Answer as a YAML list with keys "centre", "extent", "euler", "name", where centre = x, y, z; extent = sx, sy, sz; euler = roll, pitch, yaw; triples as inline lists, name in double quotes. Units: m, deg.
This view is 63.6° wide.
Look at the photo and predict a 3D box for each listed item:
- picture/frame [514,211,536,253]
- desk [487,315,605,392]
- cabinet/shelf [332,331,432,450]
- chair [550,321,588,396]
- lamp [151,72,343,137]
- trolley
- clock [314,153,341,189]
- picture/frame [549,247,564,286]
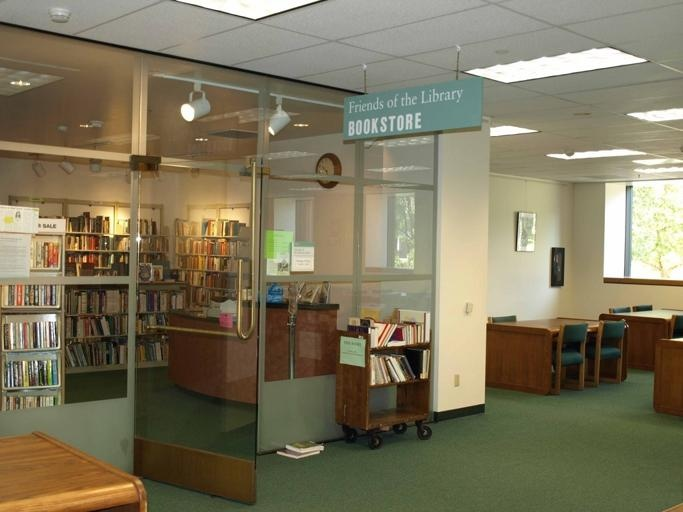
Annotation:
- centre: [4.331, -0.571, 13.093]
  extent: [0.084, 1.210, 0.943]
  euler: [0, -1, 40]
  name: "picture/frame"
- centre: [3.240, 1.593, 9.812]
  extent: [1.157, 1.084, 2.061]
  euler: [3, 6, 26]
  name: "desk"
- centre: [0.503, 1.468, 6.302]
  extent: [0.966, 1.287, 0.568]
  euler: [4, -6, -33]
  name: "cabinet/shelf"
- centre: [3.618, 1.662, 9.187]
  extent: [0.830, 1.157, 0.915]
  euler: [0, 2, 5]
  name: "chair"
- centre: [-0.975, -1.432, 5.501]
  extent: [1.811, 0.650, 0.361]
  euler: [2, -1, -37]
  name: "lamp"
- centre: [0.468, 1.464, 6.318]
  extent: [0.992, 1.361, 0.603]
  euler: [5, -6, -40]
  name: "trolley"
- centre: [-0.175, -0.933, 6.064]
  extent: [0.317, 0.370, 0.104]
  euler: [14, -17, -31]
  name: "clock"
- centre: [5.401, 0.270, 13.902]
  extent: [0.090, 1.370, 0.946]
  euler: [1, 0, 39]
  name: "picture/frame"
